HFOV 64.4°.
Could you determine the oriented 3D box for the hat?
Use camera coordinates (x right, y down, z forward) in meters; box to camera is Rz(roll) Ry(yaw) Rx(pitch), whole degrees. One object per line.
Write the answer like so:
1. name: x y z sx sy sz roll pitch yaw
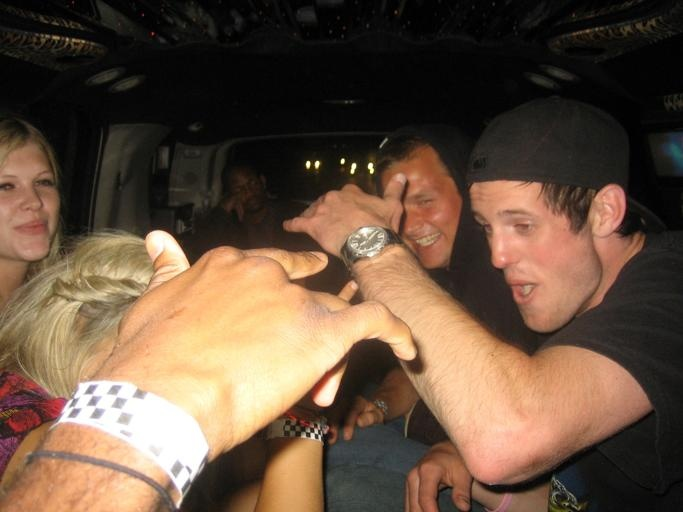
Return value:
1. hat: 0.729 -0.334 1.717 0.633 0.319 0.428 5 15 -4
